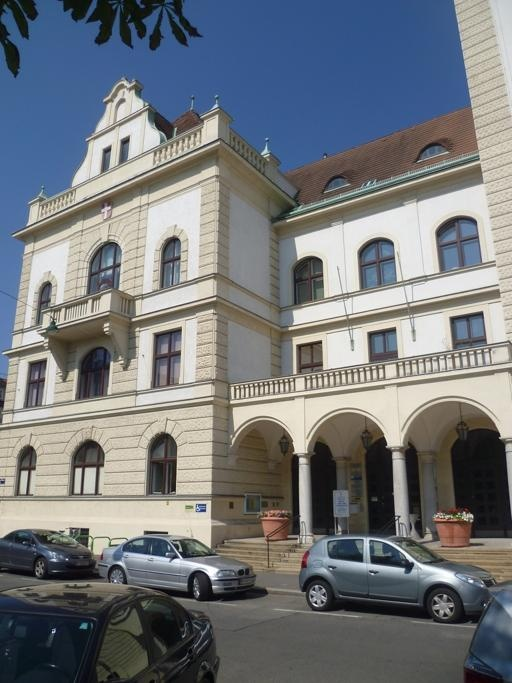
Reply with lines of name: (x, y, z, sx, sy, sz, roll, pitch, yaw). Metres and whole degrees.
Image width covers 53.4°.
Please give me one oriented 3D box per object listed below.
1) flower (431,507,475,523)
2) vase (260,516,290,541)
flower: (6.146, 5.512, 16.132, 0.788, 0.267, 0.754, -24, -37, 35)
vase: (0.730, 7.035, 19.190, 0.956, 0.888, 1.523, -1, -17, 1)
